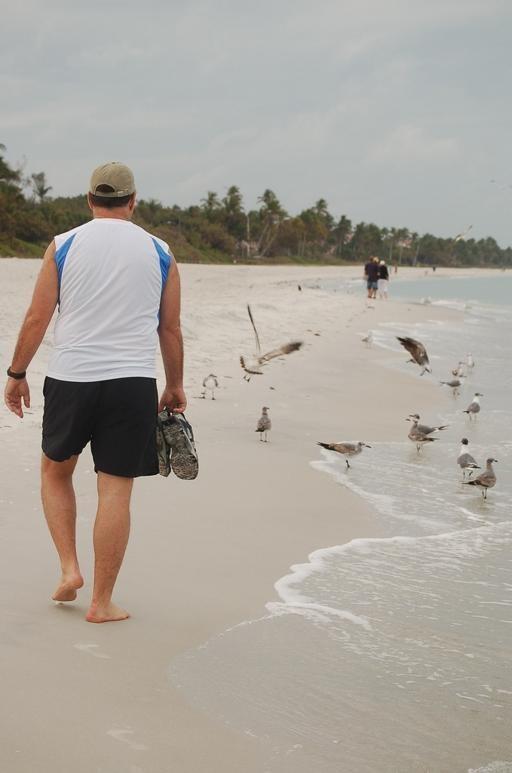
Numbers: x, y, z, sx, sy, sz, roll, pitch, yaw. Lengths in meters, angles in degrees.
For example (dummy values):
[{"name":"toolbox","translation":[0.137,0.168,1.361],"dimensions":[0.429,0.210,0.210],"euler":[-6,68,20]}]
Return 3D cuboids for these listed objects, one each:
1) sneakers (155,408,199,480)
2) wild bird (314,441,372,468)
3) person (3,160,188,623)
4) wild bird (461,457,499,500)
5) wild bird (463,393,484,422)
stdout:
[{"name":"sneakers","translation":[-0.413,0.310,4.366],"dimensions":[0.226,0.338,0.148],"euler":[-2,19,-6]},{"name":"wild bird","translation":[0.877,0.666,8.501],"dimensions":[0.349,0.237,0.691],"euler":[9,8,10]},{"name":"person","translation":[-0.824,0.157,4.122],"dimensions":[0.879,1.955,0.540],"euler":[8,9,-4]},{"name":"wild bird","translation":[2.190,0.844,7.991],"dimensions":[0.548,0.401,0.180],"euler":[-11,16,-38]},{"name":"wild bird","translation":[3.108,0.316,11.951],"dimensions":[0.158,0.357,0.511],"euler":[14,31,33]}]
